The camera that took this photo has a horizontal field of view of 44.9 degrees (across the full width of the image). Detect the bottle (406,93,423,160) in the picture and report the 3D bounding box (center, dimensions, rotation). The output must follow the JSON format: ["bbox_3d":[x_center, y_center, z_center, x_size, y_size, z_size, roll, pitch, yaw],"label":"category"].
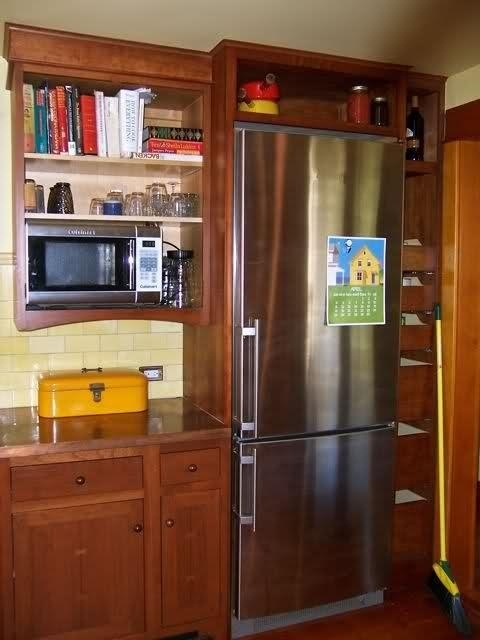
[{"bbox_3d":[0.789,-0.869,2.631,0.114,0.288,0.059,-4,6,-29],"label":"bottle"}]

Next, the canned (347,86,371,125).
[{"bbox_3d":[0.486,-0.891,2.396,0.090,0.199,0.187,1,6,10],"label":"canned"}]

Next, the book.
[{"bbox_3d":[-0.499,-0.744,2.275,0.654,0.277,0.342,-3,7,-22],"label":"book"}]

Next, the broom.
[{"bbox_3d":[0.893,0.599,2.484,0.145,1.320,0.397,1,6,13],"label":"broom"}]

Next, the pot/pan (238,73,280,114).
[{"bbox_3d":[0.070,-0.850,2.219,0.128,0.162,0.185,-2,15,-16],"label":"pot/pan"}]
